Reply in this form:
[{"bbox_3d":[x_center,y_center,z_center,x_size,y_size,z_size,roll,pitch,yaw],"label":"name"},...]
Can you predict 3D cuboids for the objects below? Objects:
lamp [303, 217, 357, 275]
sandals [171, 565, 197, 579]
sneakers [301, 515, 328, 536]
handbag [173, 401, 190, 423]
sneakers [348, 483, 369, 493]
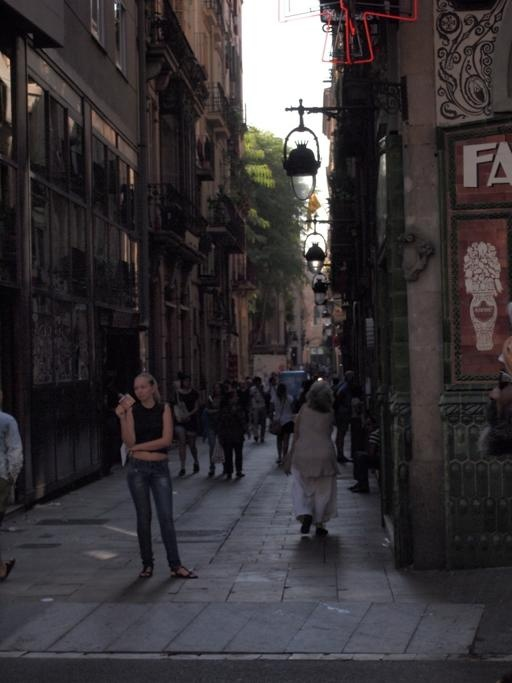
[{"bbox_3d":[1.249,-1.814,23.033,0.671,1.208,0.398,-1,-15,7],"label":"lamp"},{"bbox_3d":[-0.573,1.879,9.620,0.221,0.127,0.096,1,3,9],"label":"sandals"},{"bbox_3d":[0.556,1.840,11.803,0.111,0.193,0.379,1,-1,9],"label":"sneakers"},{"bbox_3d":[-1.204,1.174,19.416,0.184,0.362,0.164,-15,-7,20],"label":"handbag"},{"bbox_3d":[1.365,1.967,15.973,0.263,0.158,0.110,3,-2,28],"label":"sneakers"}]
